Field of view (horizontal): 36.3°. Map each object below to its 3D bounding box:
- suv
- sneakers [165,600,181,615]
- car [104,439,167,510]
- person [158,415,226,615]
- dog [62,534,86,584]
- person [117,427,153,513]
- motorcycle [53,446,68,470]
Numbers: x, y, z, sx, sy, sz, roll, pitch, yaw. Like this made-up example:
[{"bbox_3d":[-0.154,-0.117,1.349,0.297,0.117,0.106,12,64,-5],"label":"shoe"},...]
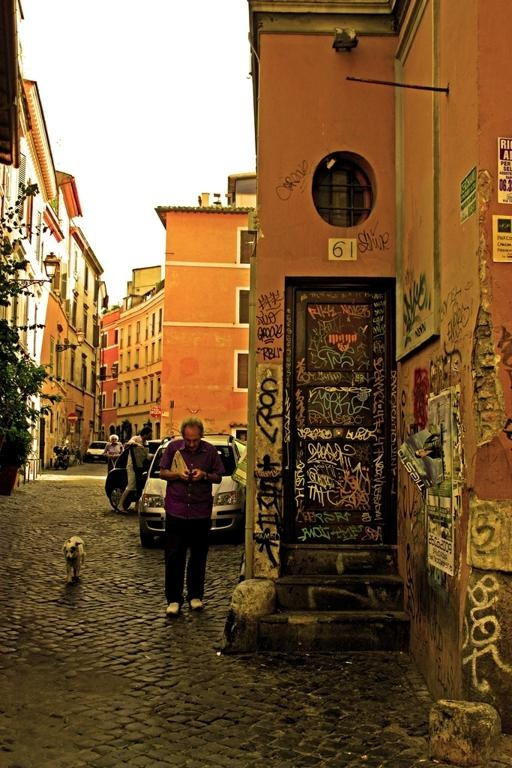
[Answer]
[{"bbox_3d":[-0.823,1.520,11.473,1.087,1.273,2.280,-1,-8,4],"label":"suv"},{"bbox_3d":[-0.678,1.838,6.399,0.105,0.101,0.154,4,-6,-5],"label":"sneakers"},{"bbox_3d":[-2.398,1.725,14.731,0.931,1.086,1.861,0,3,-2],"label":"car"},{"bbox_3d":[-0.565,1.106,6.665,0.530,1.625,0.676,3,-6,-4],"label":"person"},{"bbox_3d":[-1.893,1.779,8.044,0.211,0.429,0.710,4,-6,-13],"label":"dog"},{"bbox_3d":[-2.207,1.583,14.151,0.474,0.507,1.428,-6,-30,-29],"label":"person"},{"bbox_3d":[-8.457,3.211,33.633,0.571,0.687,0.990,-1,-13,-7],"label":"motorcycle"}]
